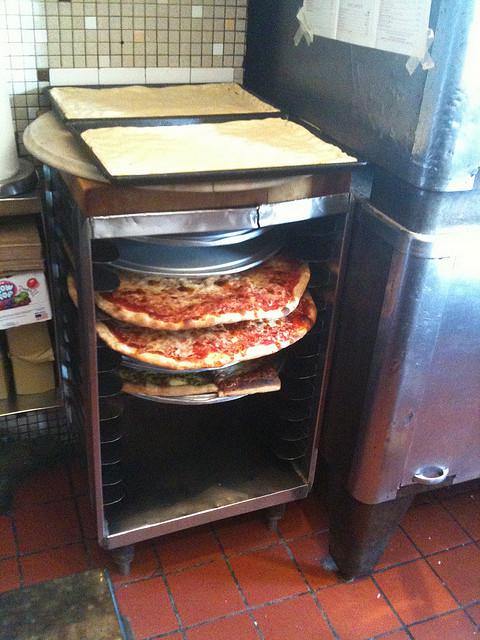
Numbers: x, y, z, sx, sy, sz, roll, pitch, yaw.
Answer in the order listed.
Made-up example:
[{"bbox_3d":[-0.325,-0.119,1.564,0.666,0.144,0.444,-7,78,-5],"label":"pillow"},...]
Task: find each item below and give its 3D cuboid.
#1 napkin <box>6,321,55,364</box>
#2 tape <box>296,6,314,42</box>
[{"bbox_3d":[-0.531,0.057,1.314,0.110,0.102,0.032,-6,19,-18],"label":"napkin"},{"bbox_3d":[0.145,-0.646,1.140,0.017,0.062,0.061,-27,53,-13],"label":"tape"}]
